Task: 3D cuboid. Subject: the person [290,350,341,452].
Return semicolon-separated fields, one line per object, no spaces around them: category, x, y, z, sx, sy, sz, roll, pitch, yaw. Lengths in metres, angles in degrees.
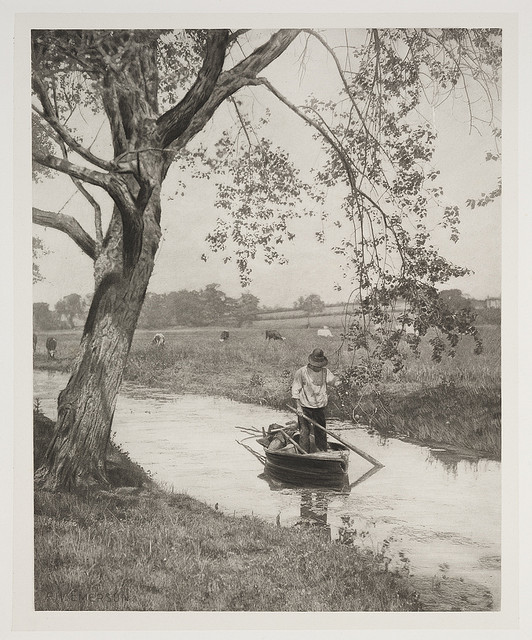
person;0.482;0.883;9.908;0.442;1.296;0.354;-3;17;-6

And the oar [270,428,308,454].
oar;0.241;1.219;9.935;0.186;0.238;0.592;9;-7;-33

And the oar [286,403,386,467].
oar;0.711;1.192;9.949;0.974;0.490;0.436;6;-6;6
